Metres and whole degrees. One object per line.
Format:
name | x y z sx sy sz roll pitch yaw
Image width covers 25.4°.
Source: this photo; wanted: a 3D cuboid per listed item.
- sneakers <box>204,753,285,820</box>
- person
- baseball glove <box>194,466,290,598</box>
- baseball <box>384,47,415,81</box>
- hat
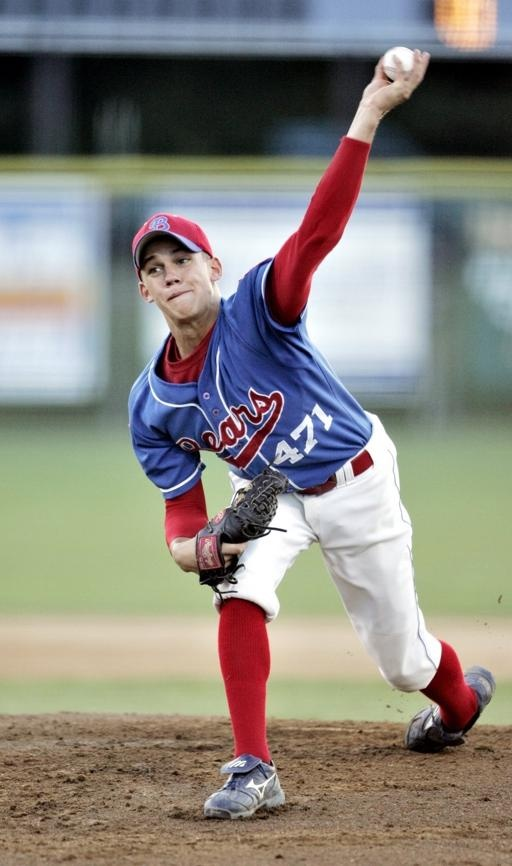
sneakers | -0.021 0.708 2.294 0.086 0.112 0.235 0 -6 31
person | 0.101 0.025 2.432 0.735 1.492 0.661 1 -1 -7
baseball glove | -0.018 0.193 2.386 0.157 0.268 0.129 22 -21 33
baseball | 0.275 -0.702 2.155 0.065 0.062 0.035 4 1 27
hat | -0.196 -0.406 2.619 0.184 0.128 0.289 -4 -13 -12
